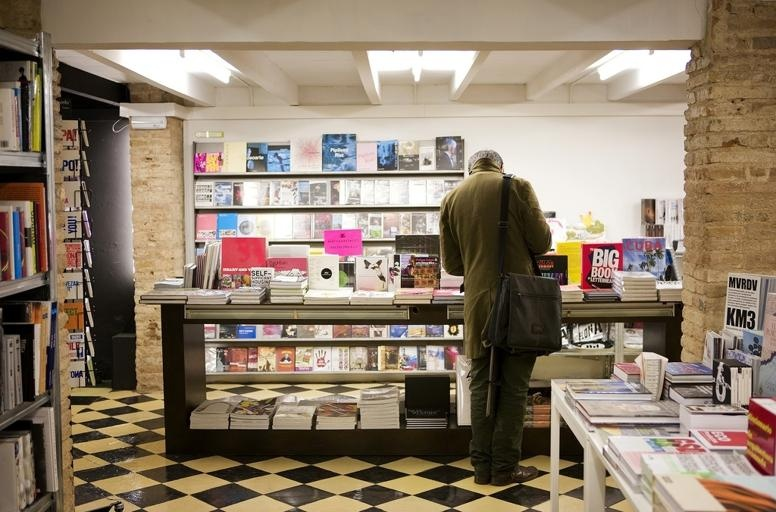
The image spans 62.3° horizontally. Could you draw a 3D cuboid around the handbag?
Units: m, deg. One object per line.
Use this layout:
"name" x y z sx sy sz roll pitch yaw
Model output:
"handbag" 1.045 0.456 5.000 0.686 0.555 0.342 2 -5 -16
